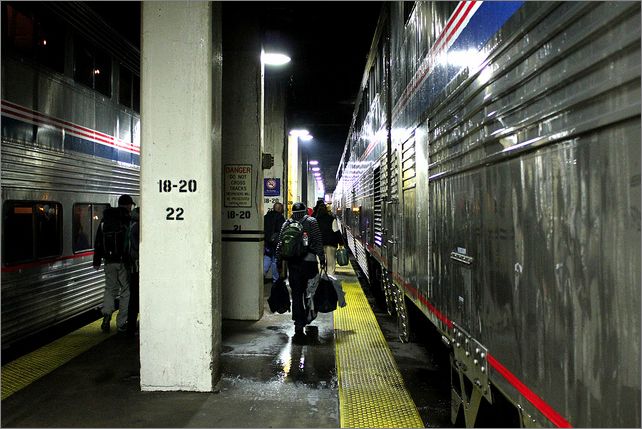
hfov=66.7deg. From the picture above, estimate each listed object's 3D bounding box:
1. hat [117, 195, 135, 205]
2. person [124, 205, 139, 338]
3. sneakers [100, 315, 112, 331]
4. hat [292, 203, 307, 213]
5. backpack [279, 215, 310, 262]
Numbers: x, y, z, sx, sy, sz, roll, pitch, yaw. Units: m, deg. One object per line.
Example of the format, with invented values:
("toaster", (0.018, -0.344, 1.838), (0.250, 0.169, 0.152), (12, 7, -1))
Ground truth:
("hat", (-3.208, -0.245, 8.021), (0.156, 0.153, 0.224), (4, 8, 31))
("person", (-2.835, 0.847, 7.320), (0.161, 1.884, 0.366), (0, 2, -22))
("sneakers", (-3.355, 1.689, 7.567), (0.114, 0.336, 0.128), (3, 1, -25))
("hat", (-0.334, -0.136, 7.765), (0.168, 0.150, 0.151), (-9, 10, -40))
("backpack", (-0.405, 0.386, 7.453), (0.369, 0.575, 0.545), (-1, -8, 14))
